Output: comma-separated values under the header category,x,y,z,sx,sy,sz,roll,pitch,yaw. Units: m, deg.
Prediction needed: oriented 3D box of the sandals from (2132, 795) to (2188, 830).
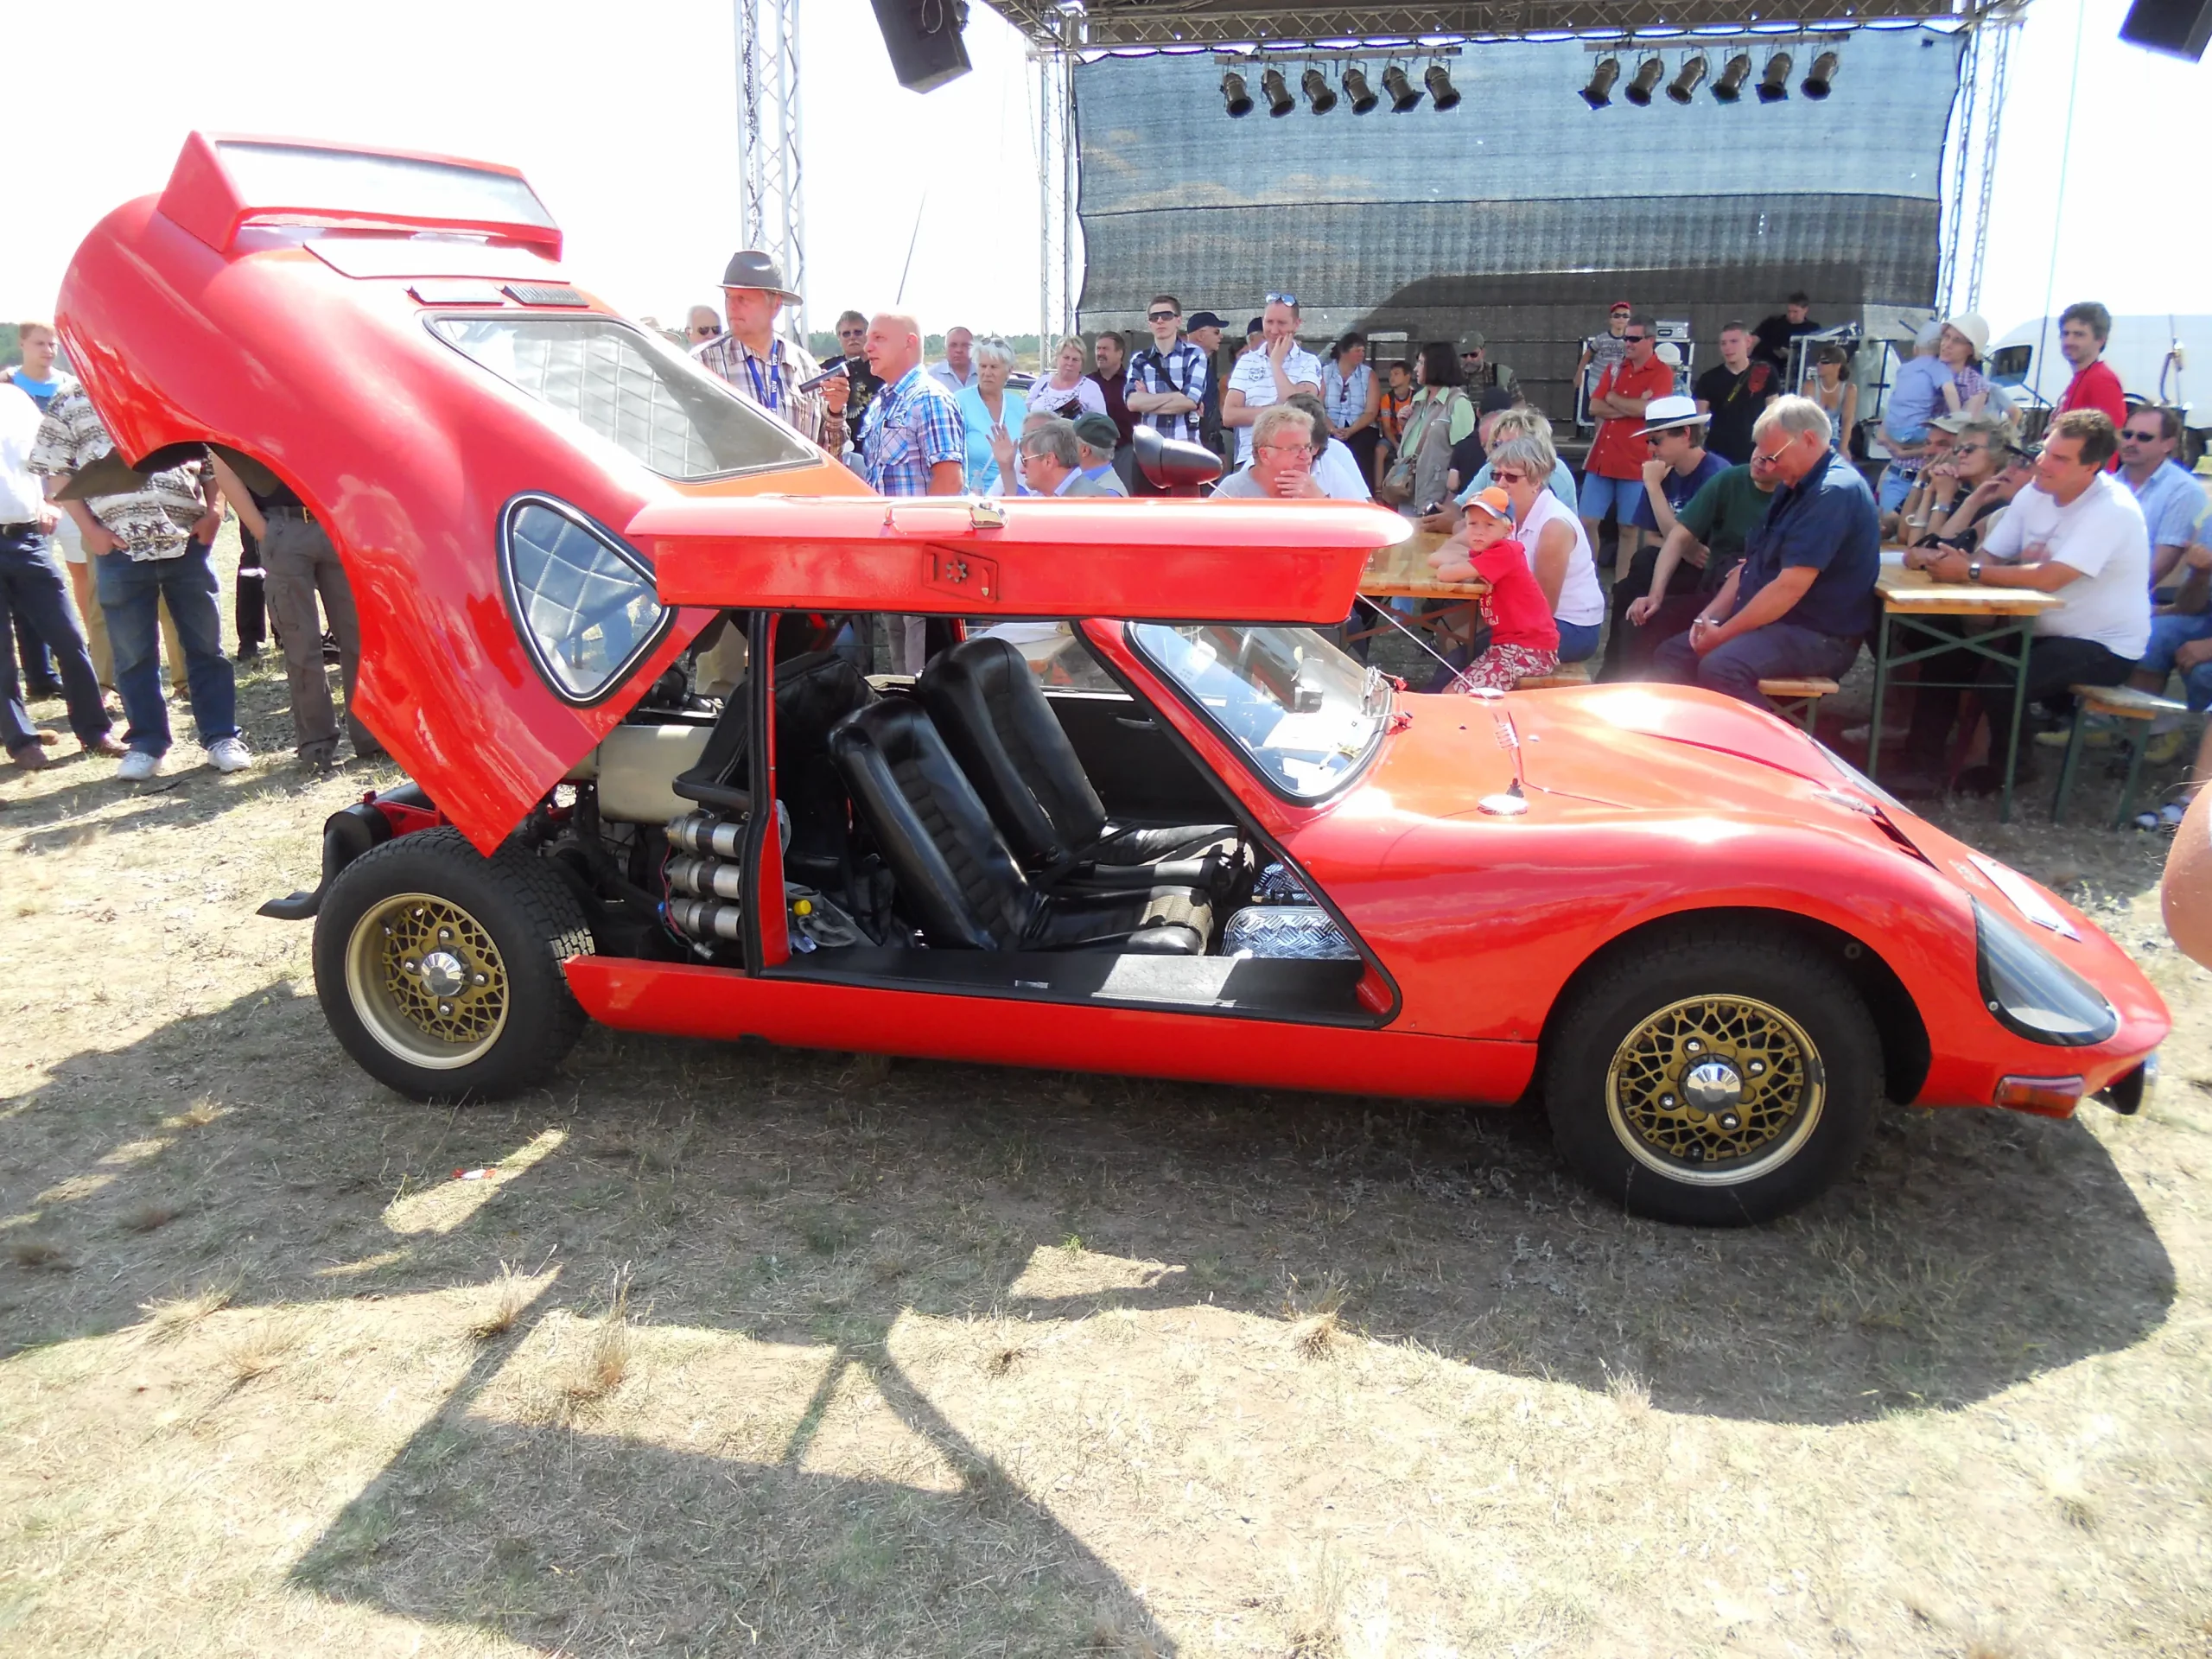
category,x,y,z,sx,sy,sz,roll,pitch,yaw
sandals,4.881,-0.081,6.739,0.210,0.129,0.360,-5,9,39

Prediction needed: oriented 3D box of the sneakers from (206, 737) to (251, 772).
category,x,y,z,sx,sy,sz,roll,pitch,yaw
sneakers,-4.683,-0.405,7.794,0.144,0.124,0.274,-30,24,-37

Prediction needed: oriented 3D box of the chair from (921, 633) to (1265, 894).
category,x,y,z,sx,sy,sz,roll,pitch,yaw
chair,-0.059,-0.222,4.802,0.907,0.813,0.570,-3,16,15

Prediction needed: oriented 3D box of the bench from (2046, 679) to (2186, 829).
category,x,y,z,sx,sy,sz,roll,pitch,yaw
bench,4.891,-0.369,7.018,0.453,0.593,0.605,-5,21,3

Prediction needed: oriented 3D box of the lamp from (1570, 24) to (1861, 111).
category,x,y,z,sx,sy,sz,roll,pitch,yaw
lamp,5.461,-6.720,12.813,2.240,0.553,0.482,4,38,20

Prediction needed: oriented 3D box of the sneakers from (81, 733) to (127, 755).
category,x,y,z,sx,sy,sz,roll,pitch,yaw
sneakers,-5.591,-0.483,8.118,0.256,0.119,0.090,0,36,-15

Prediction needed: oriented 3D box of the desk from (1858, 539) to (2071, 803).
category,x,y,z,sx,sy,sz,roll,pitch,yaw
desk,4.231,-0.784,7.144,0.503,0.685,1.329,7,18,21

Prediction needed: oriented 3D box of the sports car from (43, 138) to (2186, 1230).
category,x,y,z,sx,sy,sz,roll,pitch,yaw
sports car,0.174,-0.580,4.630,5.758,2.880,2.534,4,18,11

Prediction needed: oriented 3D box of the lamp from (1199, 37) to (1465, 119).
category,x,y,z,sx,sy,sz,roll,pitch,yaw
lamp,2.131,-6.858,13.277,2.720,0.616,0.652,0,-14,7

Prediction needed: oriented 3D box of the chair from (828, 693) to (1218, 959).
category,x,y,z,sx,sy,sz,roll,pitch,yaw
chair,-0.320,-0.022,4.316,0.750,0.845,0.528,-9,16,27
